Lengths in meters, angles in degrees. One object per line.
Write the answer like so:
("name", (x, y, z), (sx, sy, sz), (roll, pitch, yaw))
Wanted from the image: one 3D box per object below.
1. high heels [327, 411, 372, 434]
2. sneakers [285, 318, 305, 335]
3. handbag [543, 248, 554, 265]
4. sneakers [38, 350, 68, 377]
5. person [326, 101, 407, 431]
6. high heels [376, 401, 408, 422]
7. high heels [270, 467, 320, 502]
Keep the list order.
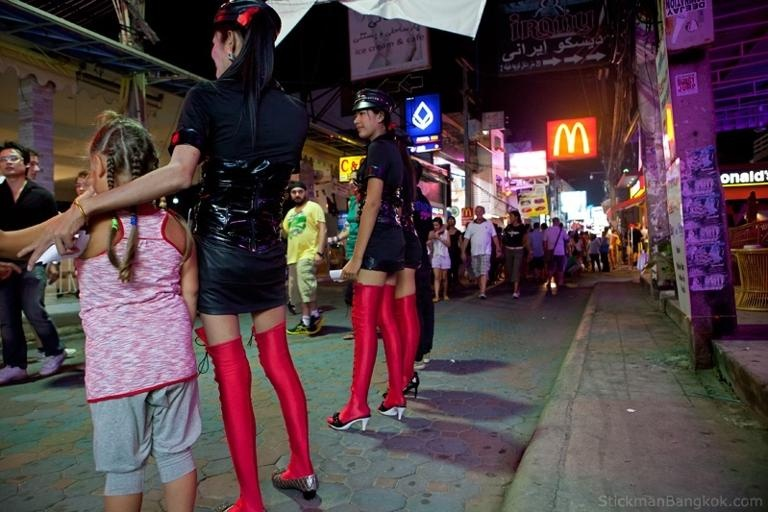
("high heels", (-0.317, 1.523, 4.368), (0.377, 0.134, 0.168), (6, -3, 4))
("sneakers", (-1.564, 1.332, 8.633), (0.541, 0.229, 0.201), (-5, -15, 40))
("handbag", (4.937, 0.066, 14.356), (0.160, 0.421, 0.329), (6, -9, -23))
("sneakers", (-4.451, 1.426, 6.423), (0.183, 0.191, 0.485), (-3, 19, -1))
("person", (-0.264, 0.007, 4.804), (1.021, 3.167, 0.953), (-2, -4, 21))
("high heels", (0.082, 1.515, 4.654), (0.138, 0.094, 0.253), (2, 11, -38))
("high heels", (-0.654, 1.644, 3.543), (0.405, 0.157, 0.151), (8, 18, 34))
